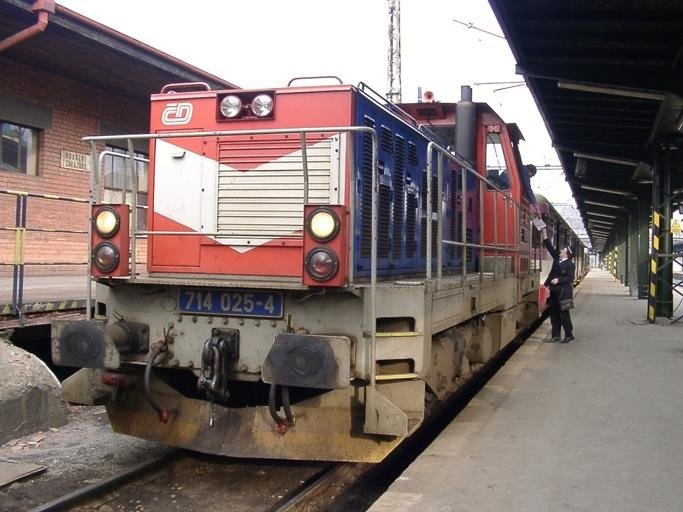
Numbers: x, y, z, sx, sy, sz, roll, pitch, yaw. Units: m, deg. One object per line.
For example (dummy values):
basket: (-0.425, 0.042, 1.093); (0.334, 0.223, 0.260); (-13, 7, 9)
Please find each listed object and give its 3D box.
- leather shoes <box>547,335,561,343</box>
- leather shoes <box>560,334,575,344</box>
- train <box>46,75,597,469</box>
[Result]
leather shoes: (3.687, 1.468, 10.088); (0.337, 0.152, 0.122); (3, -4, -10)
leather shoes: (3.902, 1.443, 9.911); (0.092, 0.111, 0.255); (-8, -5, 40)
train: (0.324, 0.173, 7.309); (3.056, 3.124, 6.565); (1, 3, 24)
